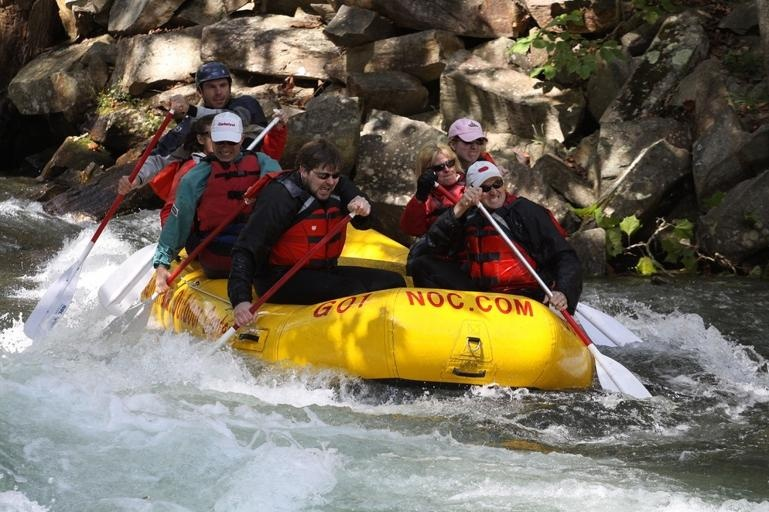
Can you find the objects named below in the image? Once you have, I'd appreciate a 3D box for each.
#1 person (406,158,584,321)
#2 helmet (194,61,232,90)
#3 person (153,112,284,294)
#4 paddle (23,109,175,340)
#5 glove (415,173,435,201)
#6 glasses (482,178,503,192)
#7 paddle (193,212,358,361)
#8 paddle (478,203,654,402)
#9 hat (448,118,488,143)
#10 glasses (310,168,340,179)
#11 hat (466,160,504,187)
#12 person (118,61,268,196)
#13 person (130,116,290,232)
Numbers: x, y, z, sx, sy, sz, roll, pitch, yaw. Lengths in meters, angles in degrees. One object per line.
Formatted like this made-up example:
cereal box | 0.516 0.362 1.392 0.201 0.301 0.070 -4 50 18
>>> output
person | 0.973 0.028 6.805 1.463 1.759 0.877 4 19 26
helmet | -1.782 -1.880 8.018 0.318 0.279 0.271 10 10 -12
person | -1.534 -0.448 7.043 1.515 1.393 0.849 -12 30 -29
paddle | -3.443 -0.390 9.366 0.508 0.288 4.253 36 49 -10
glove | 0.344 -0.606 6.796 0.075 0.227 0.192 -8 35 -41
glasses | 0.899 -0.597 6.459 0.212 0.138 0.056 5 13 -35
paddle | -0.910 0.282 6.541 0.169 1.739 0.101 51 13 27
paddle | 1.589 0.448 6.791 2.296 0.105 0.311 46 13 11
hat | 0.733 -1.191 7.269 0.225 0.177 0.316 -1 2 -27
glasses | -0.498 -0.677 6.435 0.216 0.086 0.069 7 12 -27
hat | 0.809 -0.689 6.393 0.198 0.115 0.271 -17 8 -7
person | -1.935 -1.435 8.164 1.278 0.600 1.692 -3 16 11
person | -1.811 -1.009 8.588 1.888 0.538 1.387 -15 13 5
